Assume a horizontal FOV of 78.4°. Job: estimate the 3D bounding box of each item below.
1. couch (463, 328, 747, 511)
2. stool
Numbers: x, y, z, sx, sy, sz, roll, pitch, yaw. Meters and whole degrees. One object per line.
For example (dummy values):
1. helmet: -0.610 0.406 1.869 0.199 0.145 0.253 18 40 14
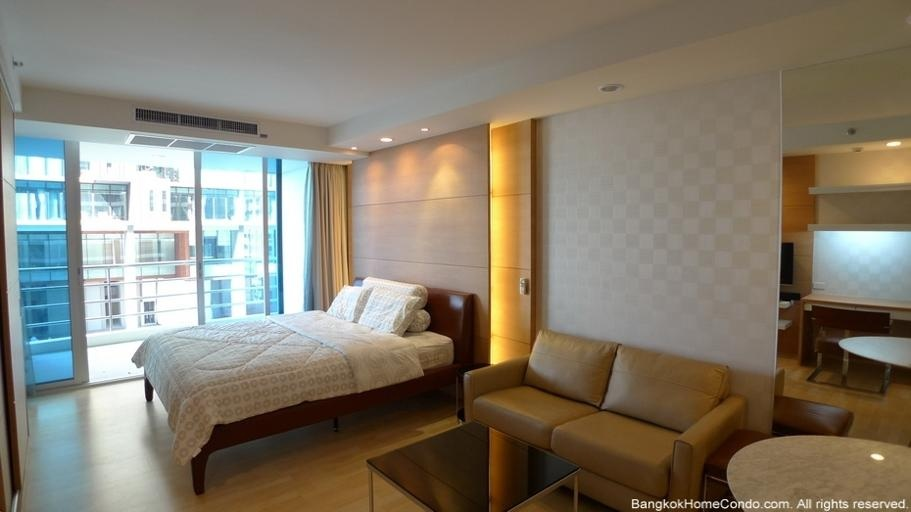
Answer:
1. couch: 1.502 1.451 5.216 1.519 1.195 2.741 -1 4 -42
2. stool: 3.242 0.768 4.622 0.503 0.500 0.609 -2 2 -41
